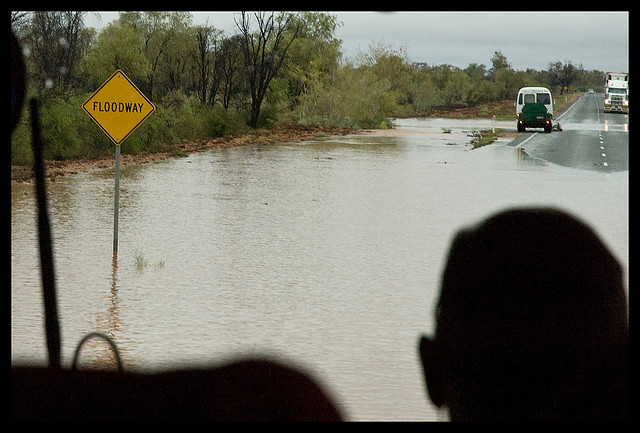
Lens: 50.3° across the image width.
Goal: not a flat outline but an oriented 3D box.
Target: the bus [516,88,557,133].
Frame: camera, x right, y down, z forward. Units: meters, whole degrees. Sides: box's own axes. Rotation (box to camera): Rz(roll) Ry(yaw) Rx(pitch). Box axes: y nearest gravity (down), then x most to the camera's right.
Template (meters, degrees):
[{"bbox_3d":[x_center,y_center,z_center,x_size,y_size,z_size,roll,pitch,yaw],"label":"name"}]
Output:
[{"bbox_3d":[15.012,-7.490,47.569,2.185,2.198,3.529,1,10,9],"label":"bus"}]
